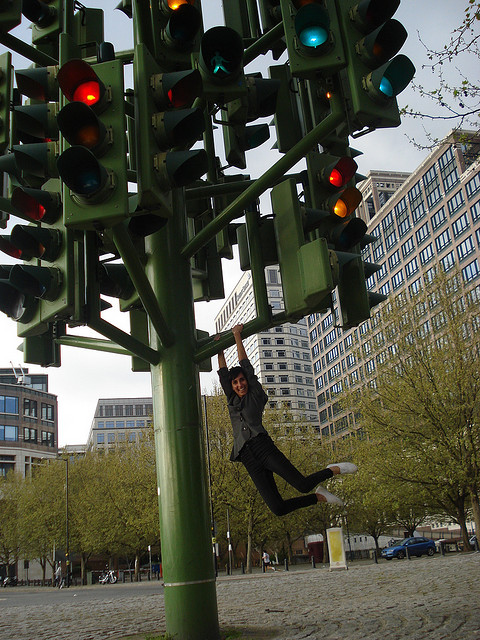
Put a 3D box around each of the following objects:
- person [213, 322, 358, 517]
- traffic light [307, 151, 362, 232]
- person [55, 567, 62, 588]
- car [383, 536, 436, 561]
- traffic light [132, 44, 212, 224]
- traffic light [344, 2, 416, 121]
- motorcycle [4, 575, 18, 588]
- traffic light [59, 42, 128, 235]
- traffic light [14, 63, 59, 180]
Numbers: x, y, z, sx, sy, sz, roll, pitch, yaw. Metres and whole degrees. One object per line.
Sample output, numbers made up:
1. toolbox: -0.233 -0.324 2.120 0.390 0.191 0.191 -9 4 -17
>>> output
1. person: 0.278 0.830 5.088 0.905 1.585 0.860 3 -18 -29
2. traffic light: 0.677 -0.922 4.304 0.318 0.586 0.370 -10 -16 14
3. person: -12.170 17.262 40.747 0.306 1.273 1.469 -1 -16 -17
4. car: 10.296 14.431 38.238 2.429 1.182 3.300 -19 -20 41
5. traffic light: -0.359 -0.999 2.999 0.362 0.888 0.394 -5 -15 -3
6. traffic light: 0.736 -1.375 3.200 0.307 0.625 0.364 -11 -16 17
7. motorcycle: -21.338 24.106 55.990 0.852 0.938 1.655 -12 -18 6
8. traffic light: -0.665 -0.827 2.746 0.289 0.843 0.330 -2 -16 -13
9. traffic light: -1.235 -1.222 3.683 0.245 0.780 0.163 1 -15 -24
